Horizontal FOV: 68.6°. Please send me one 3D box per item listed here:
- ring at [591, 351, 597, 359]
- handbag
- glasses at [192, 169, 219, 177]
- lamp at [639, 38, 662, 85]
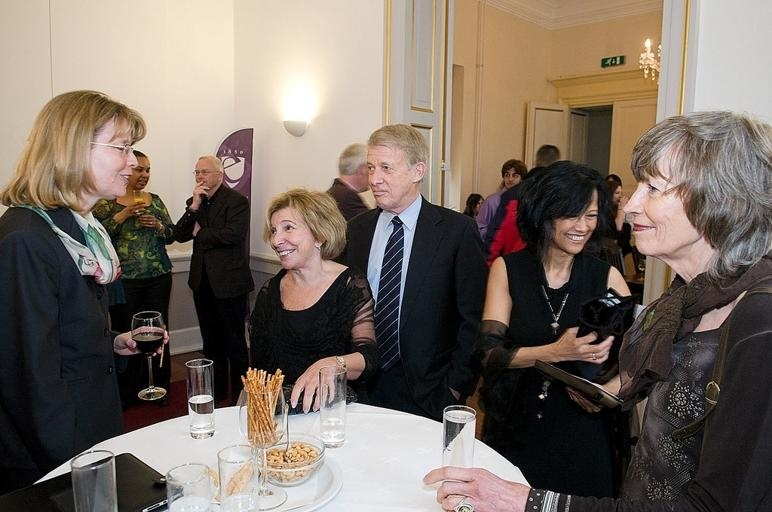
[{"bbox_3d":[0.864,0.415,2.354,0.017,0.028,0.025,-1,-2,12],"label":"ring"},{"bbox_3d":[0.900,0.360,2.384,0.245,0.375,0.100,-8,27,-16],"label":"handbag"},{"bbox_3d":[-1.501,-0.697,4.720,0.192,0.056,0.107,-1,8,-3],"label":"glasses"},{"bbox_3d":[3.647,-2.769,7.830,0.258,0.561,0.770,3,9,22],"label":"lamp"}]
